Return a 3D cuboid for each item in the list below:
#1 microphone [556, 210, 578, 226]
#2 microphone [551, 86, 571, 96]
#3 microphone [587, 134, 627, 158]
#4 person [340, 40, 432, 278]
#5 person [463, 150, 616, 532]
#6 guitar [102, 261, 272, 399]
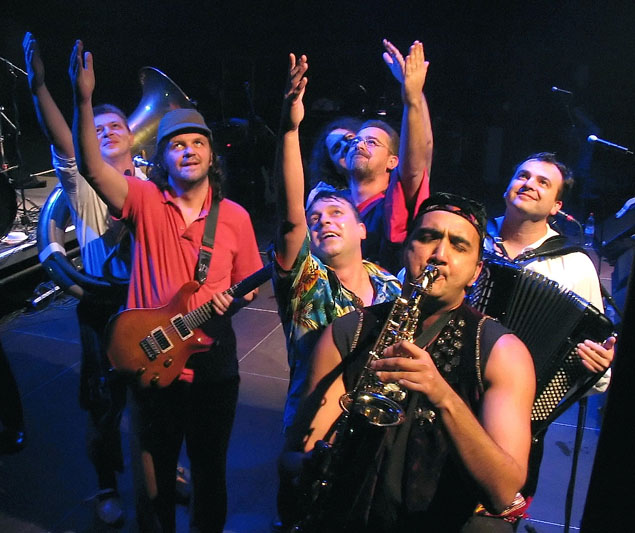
[{"bbox_3d":[1.182,-0.228,2.737,0.026,0.019,0.085,-10,45,-49],"label":"microphone"},{"bbox_3d":[1.031,-0.730,2.454,0.086,0.015,0.035,28,63,2],"label":"microphone"},{"bbox_3d":[1.272,-0.524,2.543,0.165,0.039,0.035,19,-12,1],"label":"microphone"},{"bbox_3d":[0.317,-0.492,2.698,0.330,1.010,0.375,6,20,15],"label":"person"},{"bbox_3d":[0.946,0.421,2.580,0.718,1.788,0.487,5,-11,9],"label":"person"},{"bbox_3d":[-0.510,0.178,2.609,0.958,0.386,0.099,-31,19,3],"label":"guitar"}]
